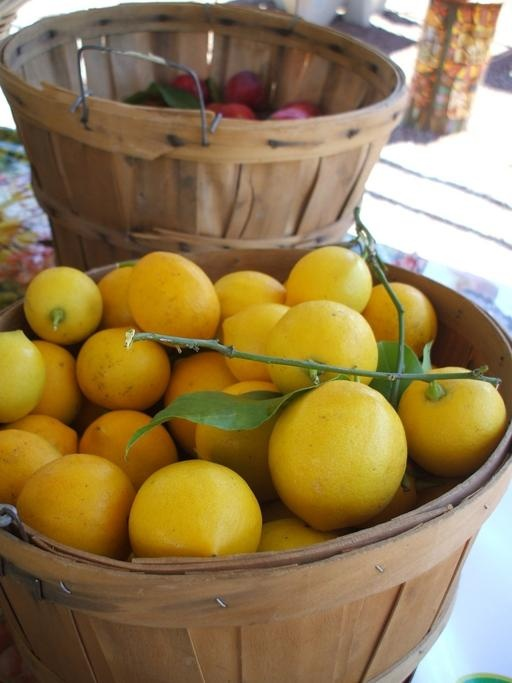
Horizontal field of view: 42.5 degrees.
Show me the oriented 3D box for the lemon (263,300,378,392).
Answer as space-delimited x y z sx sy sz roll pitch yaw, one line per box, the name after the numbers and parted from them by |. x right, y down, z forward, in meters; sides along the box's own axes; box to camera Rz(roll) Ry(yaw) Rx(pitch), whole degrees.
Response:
0.057 -0.002 0.620 0.087 0.078 0.093 11 8 43 | lemon

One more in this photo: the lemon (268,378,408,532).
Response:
0.059 0.099 0.569 0.124 0.113 0.123 1 63 0 | lemon

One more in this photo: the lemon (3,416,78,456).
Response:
-0.219 0.092 0.672 0.053 0.040 0.038 28 22 -32 | lemon

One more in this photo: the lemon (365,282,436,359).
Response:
0.167 -0.027 0.739 0.089 0.089 0.086 -7 8 -34 | lemon

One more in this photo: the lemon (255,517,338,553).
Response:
0.026 0.157 0.535 0.044 0.020 0.041 9 18 39 | lemon

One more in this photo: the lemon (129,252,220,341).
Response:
-0.089 -0.041 0.693 0.095 0.084 0.077 27 44 23 | lemon

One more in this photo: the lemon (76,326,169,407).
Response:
-0.142 0.024 0.720 0.100 0.081 0.088 3 -2 23 | lemon

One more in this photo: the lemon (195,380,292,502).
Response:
-0.012 0.089 0.644 0.106 0.104 0.095 8 9 -3 | lemon

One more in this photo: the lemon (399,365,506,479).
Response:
0.171 0.071 0.585 0.091 0.100 0.066 16 41 11 | lemon

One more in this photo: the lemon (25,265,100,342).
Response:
-0.183 -0.050 0.745 0.093 0.077 0.116 -6 10 -2 | lemon

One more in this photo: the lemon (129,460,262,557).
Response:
-0.045 0.128 0.537 0.089 0.070 0.079 0 -7 14 | lemon
